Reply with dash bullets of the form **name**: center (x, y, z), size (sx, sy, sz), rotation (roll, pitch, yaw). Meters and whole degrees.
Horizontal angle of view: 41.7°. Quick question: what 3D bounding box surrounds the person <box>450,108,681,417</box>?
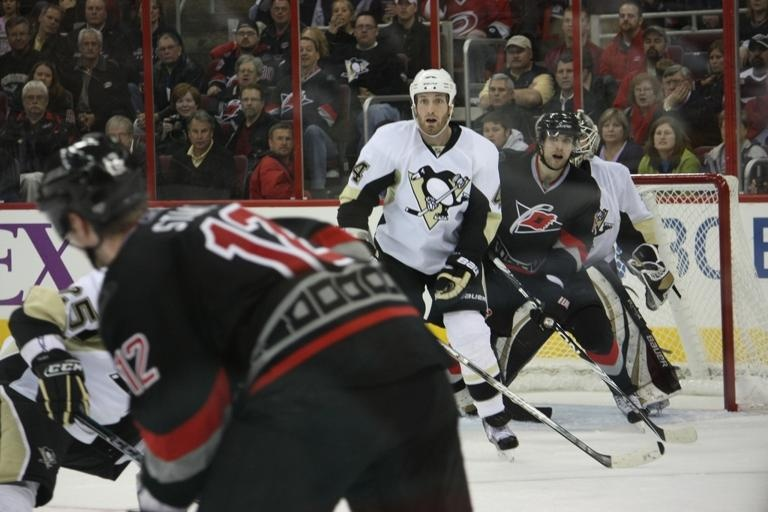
- **person**: center (1.059, 0.022, 5.800), size (1.462, 1.970, 1.106), rotation (-4, -24, 8)

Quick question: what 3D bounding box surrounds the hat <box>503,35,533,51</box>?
- **hat**: center (0.850, -1.370, 6.412), size (0.087, 0.062, 0.120), rotation (-3, -22, 23)

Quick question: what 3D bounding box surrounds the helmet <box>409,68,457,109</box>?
- **helmet**: center (0.265, -0.904, 5.433), size (0.197, 0.218, 0.229), rotation (-1, 5, 9)

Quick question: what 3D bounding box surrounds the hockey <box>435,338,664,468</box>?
- **hockey**: center (0.902, 0.798, 5.374), size (1.016, 0.347, 0.083), rotation (31, 56, 7)

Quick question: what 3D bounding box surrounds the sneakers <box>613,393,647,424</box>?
- **sneakers**: center (1.364, 0.872, 5.654), size (0.076, 0.129, 0.206), rotation (-40, 47, -4)

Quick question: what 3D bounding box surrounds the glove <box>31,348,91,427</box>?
- **glove**: center (-1.348, 0.540, 4.212), size (0.239, 0.311, 0.125), rotation (-15, 6, -11)

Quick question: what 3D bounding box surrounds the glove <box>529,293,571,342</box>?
- **glove**: center (0.910, 0.339, 5.671), size (0.242, 0.178, 0.079), rotation (-45, 1, -26)

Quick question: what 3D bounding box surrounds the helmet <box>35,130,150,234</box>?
- **helmet**: center (-0.954, -0.262, 3.378), size (0.338, 0.327, 0.297), rotation (22, 22, 25)
